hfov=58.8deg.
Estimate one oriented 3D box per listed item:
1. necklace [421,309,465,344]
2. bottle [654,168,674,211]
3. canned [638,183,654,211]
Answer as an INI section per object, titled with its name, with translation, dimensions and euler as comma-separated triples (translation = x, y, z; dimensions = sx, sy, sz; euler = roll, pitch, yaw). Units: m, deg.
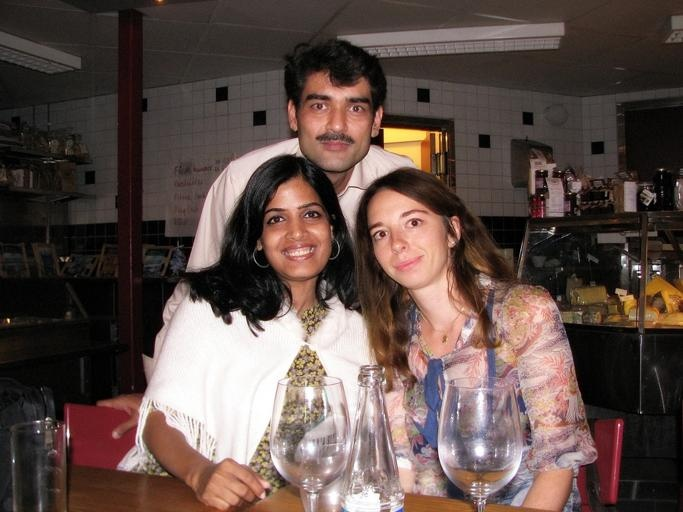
[necklace]
translation = 0.365, 0.253, 2.172
dimensions = 0.109, 0.150, 0.078
euler = 0, 11, 10
[bottle]
translation = 1.921, -0.396, 3.615
dimensions = 0.115, 0.261, 0.206
euler = -2, -3, 28
[canned]
translation = 1.881, -0.373, 3.749
dimensions = 0.091, 0.174, 0.119
euler = -2, -3, 22
